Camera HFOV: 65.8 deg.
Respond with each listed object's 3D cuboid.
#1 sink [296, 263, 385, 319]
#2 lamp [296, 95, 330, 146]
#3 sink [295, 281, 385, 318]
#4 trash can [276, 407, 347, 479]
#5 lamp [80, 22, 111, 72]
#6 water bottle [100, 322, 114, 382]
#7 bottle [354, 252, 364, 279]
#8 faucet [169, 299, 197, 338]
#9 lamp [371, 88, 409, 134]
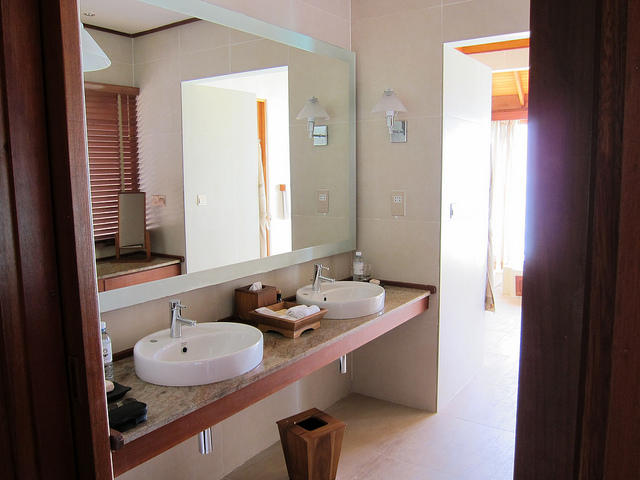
[{"bbox_3d":[0.147,0.328,2.882,0.342,0.207,0.352,4,10,39],"label":"sink"},{"bbox_3d":[-0.045,-0.753,3.072,0.174,0.316,0.197,-2,4,-45],"label":"lamp"},{"bbox_3d":[0.149,0.374,2.937,0.505,0.165,0.535,-5,4,-8],"label":"sink"},{"bbox_3d":[-0.049,1.090,2.595,0.273,0.309,0.245,-7,11,-32],"label":"trash can"},{"bbox_3d":[-0.880,-0.748,1.929,0.049,0.177,0.132,5,11,29],"label":"lamp"},{"bbox_3d":[-0.812,0.429,1.889,0.029,0.229,0.216,-5,10,-24],"label":"water bottle"},{"bbox_3d":[0.270,0.156,3.414,0.064,0.181,0.166,0,9,3],"label":"bottle"},{"bbox_3d":[-0.576,0.339,2.084,0.149,0.162,0.053,11,15,34],"label":"faucet"},{"bbox_3d":[0.447,-0.820,3.140,0.201,0.284,0.203,-5,5,-43],"label":"lamp"}]
